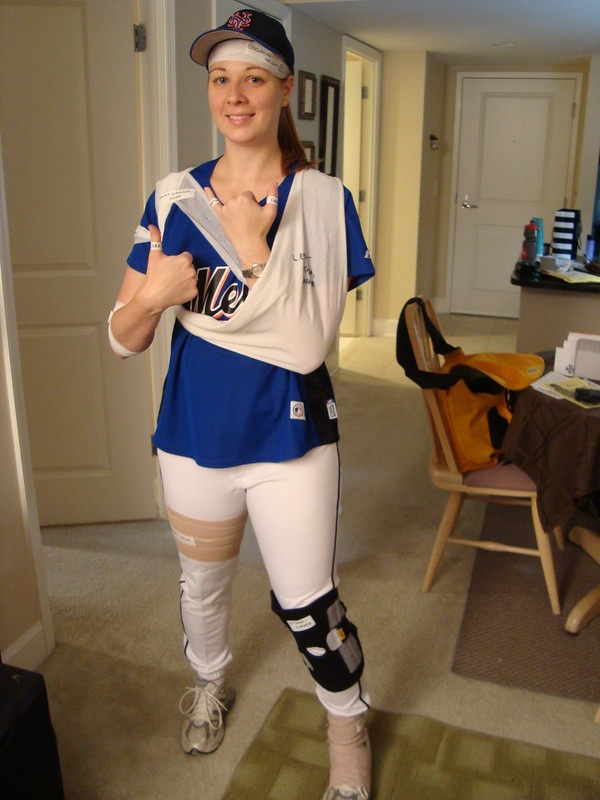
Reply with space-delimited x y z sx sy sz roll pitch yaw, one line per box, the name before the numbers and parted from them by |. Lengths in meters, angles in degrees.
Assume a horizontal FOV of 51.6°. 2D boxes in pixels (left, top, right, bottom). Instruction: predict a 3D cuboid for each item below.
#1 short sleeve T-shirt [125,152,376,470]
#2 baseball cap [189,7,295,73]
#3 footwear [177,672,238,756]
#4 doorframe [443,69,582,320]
short sleeve T-shirt | -0.084 -0.140 1.038 0.272 0.501 0.313 -12 18 -41
baseball cap | -0.086 -0.536 0.913 0.148 0.106 0.130 -2 14 -9
footwear | -0.227 0.734 1.484 0.100 0.079 0.178 2 22 4
doorframe | 2.087 -1.982 6.252 1.086 2.458 0.189 6 30 17
